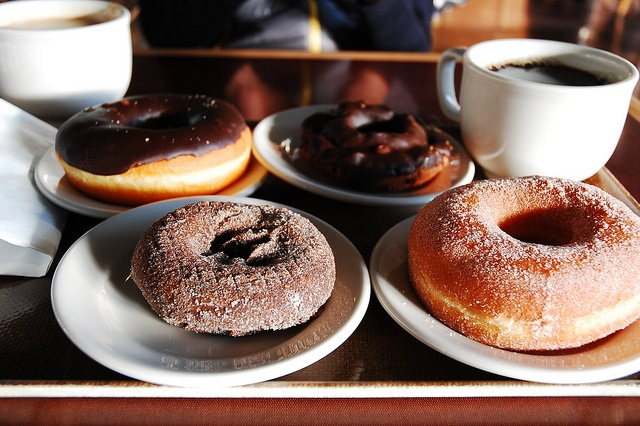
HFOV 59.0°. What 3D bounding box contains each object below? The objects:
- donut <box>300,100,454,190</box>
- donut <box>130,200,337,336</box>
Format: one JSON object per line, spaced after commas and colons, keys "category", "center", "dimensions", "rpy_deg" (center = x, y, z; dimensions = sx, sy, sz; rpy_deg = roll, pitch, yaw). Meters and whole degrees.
{"category": "donut", "center": [0.101, -0.130, 1.091], "dimensions": [0.220, 0.072, 0.210], "rpy_deg": [11, 25, -4]}
{"category": "donut", "center": [-0.140, 0.084, 0.910], "dimensions": [0.310, 0.113, 0.320], "rpy_deg": [13, 27, 5]}
